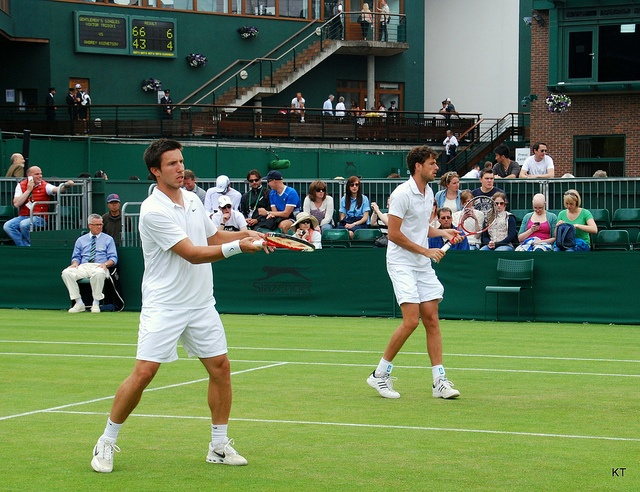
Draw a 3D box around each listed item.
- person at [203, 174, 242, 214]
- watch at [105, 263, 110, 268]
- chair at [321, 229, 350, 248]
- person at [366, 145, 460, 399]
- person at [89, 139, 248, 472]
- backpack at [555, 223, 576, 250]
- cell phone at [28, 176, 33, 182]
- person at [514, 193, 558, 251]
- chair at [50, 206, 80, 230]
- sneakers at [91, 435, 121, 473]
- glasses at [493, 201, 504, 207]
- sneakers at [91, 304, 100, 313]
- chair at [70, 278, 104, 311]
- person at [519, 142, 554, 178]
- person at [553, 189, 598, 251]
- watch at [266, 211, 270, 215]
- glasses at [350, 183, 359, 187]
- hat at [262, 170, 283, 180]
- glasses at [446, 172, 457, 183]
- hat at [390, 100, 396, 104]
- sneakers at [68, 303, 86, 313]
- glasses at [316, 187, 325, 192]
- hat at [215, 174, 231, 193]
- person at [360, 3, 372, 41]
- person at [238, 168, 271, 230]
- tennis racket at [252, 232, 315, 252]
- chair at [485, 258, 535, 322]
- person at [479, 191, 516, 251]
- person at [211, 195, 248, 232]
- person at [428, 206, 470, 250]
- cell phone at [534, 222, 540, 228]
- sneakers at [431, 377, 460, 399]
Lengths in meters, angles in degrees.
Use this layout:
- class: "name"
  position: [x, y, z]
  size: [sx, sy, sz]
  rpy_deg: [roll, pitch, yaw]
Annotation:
- class: "person"
  position: [-1.882, -0.828, 19.687]
  size: [0.753, 1.017, 0.606]
  rpy_deg: [0, 24, -7]
- class: "watch"
  position: [-4.110, 0.379, 19.676]
  size: [0.103, 0.064, 0.099]
  rpy_deg: [-7, -11, -23]
- class: "chair"
  position: [0.335, -0.153, 20.167]
  size: [0.491, 0.314, 0.380]
  rpy_deg: [1, 10, 7]
- class: "person"
  position: [1.145, 0.315, 12.324]
  size: [0.951, 3.035, 0.693]
  rpy_deg: [0, 7, 2]
- class: "person"
  position: [-1.418, 0.569, 10.307]
  size: [1.506, 3.275, 0.763]
  rpy_deg: [-1, 7, -7]
- class: "backpack"
  position: [4.450, -0.167, 18.413]
  size: [0.352, 0.504, 0.182]
  rpy_deg: [1, 7, 14]
- class: "cell phone"
  position: [-6.241, -1.459, 21.921]
  size: [0.127, 0.119, 0.109]
  rpy_deg: [1, -6, -12]
- class: "person"
  position: [3.974, -0.439, 18.622]
  size: [0.711, 1.010, 0.684]
  rpy_deg: [1, 7, 12]
- class: "chair"
  position: [-5.610, -0.601, 22.400]
  size: [0.483, 0.592, 0.493]
  rpy_deg: [1, -11, -12]
- class: "sneakers"
  position: [-2.136, 2.081, 10.160]
  size: [0.238, 0.226, 0.552]
  rpy_deg: [20, 11, -22]
- class: "glasses"
  position: [3.260, -0.749, 18.336]
  size: [0.155, 0.076, 0.197]
  rpy_deg: [2, -11, 8]
- class: "sneakers"
  position: [-4.363, 1.226, 19.766]
  size: [0.146, 0.134, 0.327]
  rpy_deg: [1, -7, -12]
- class: "chair"
  position: [-4.534, 0.945, 19.814]
  size: [0.659, 0.602, 0.291]
  rpy_deg: [-1, -10, 5]
- class: "person"
  position: [4.663, -1.720, 21.942]
  size: [0.775, 0.980, 0.595]
  rpy_deg: [1, 5, 6]
- class: "person"
  position: [4.595, -0.408, 18.536]
  size: [0.830, 1.113, 0.858]
  rpy_deg: [-5, 4, -8]
- class: "watch"
  position: [-1.011, -0.638, 19.705]
  size: [0.078, 0.075, 0.018]
  rpy_deg: [6, -10, 13]
- class: "glasses"
  position: [0.693, -1.227, 20.319]
  size: [0.177, 0.097, 0.207]
  rpy_deg: [-1, 6, -1]
- class: "hat"
  position: [-0.936, -1.380, 19.855]
  size: [0.325, 0.163, 0.237]
  rpy_deg: [2, 7, 22]
- class: "glasses"
  position: [2.317, -1.214, 17.736]
  size: [0.180, 0.207, 0.220]
  rpy_deg: [2, -8, -1]
- class: "hat"
  position: [3.325, -6.596, 46.697]
  size: [0.241, 0.298, 0.127]
  rpy_deg: [-1, 2, 11]
- class: "sneakers"
  position: [-4.751, 1.225, 19.879]
  size: [0.153, 0.135, 0.330]
  rpy_deg: [-3, -6, 30]
- class: "glasses"
  position: [0.031, -1.106, 20.076]
  size: [0.206, 0.083, 0.096]
  rpy_deg: [-6, 9, -41]
- class: "hat"
  position: [-1.877, -1.251, 19.568]
  size: [0.240, 0.344, 0.187]
  rpy_deg: [8, -37, 1]
- class: "person"
  position: [1.959, -9.688, 43.551]
  size: [0.540, 1.577, 1.143]
  rpy_deg: [0, 7, 2]
- class: "person"
  position: [-1.270, -0.907, 20.022]
  size: [0.714, 1.161, 0.672]
  rpy_deg: [0, -4, 3]
- class: "tennis racket"
  position: [-0.387, -0.035, 10.393]
  size: [0.650, 0.226, 0.426]
  rpy_deg: [-2, 7, -15]
- class: "chair"
  position: [3.351, 0.785, 17.988]
  size: [0.964, 1.086, 0.920]
  rpy_deg: [2, -4, -15]
- class: "person"
  position: [3.277, -0.397, 18.830]
  size: [0.794, 1.134, 0.705]
  rpy_deg: [-5, 9, -37]
- class: "person"
  position: [-1.665, -0.583, 18.412]
  size: [0.643, 0.742, 0.953]
  rpy_deg: [-10, 11, -16]
- class: "person"
  position: [2.274, -0.301, 17.774]
  size: [0.252, 1.031, 0.620]
  rpy_deg: [12, -10, -36]
- class: "cell phone"
  position: [3.963, -0.373, 18.634]
  size: [0.100, 0.101, 0.110]
  rpy_deg: [2, 7, 21]
- class: "sneakers"
  position: [1.496, 1.732, 12.174]
  size: [0.162, 0.194, 0.418]
  rpy_deg: [3, -8, -37]
